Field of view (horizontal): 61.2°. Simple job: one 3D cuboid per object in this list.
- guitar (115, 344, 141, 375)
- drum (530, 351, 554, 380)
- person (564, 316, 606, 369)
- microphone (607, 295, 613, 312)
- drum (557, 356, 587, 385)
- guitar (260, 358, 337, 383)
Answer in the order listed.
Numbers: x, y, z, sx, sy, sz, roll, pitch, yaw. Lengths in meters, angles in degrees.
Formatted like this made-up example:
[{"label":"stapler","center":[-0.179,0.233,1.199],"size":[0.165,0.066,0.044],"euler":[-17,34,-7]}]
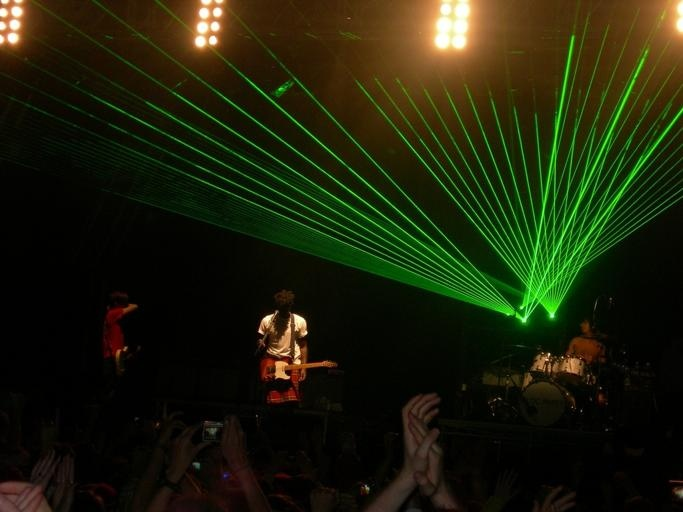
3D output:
[{"label":"guitar","center":[-3.570,1.681,9.527],"size":[0.531,0.446,1.273],"euler":[4,-13,-21]},{"label":"drum","center":[3.118,1.678,8.985],"size":[0.329,0.374,0.647],"euler":[1,-8,20]},{"label":"person","center":[4.328,1.581,10.131],"size":[0.630,1.238,0.419],"euler":[-6,21,24]},{"label":"microphone","center":[5.470,0.967,11.758],"size":[0.178,0.303,0.073],"euler":[1,9,11]},{"label":"drum","center":[3.543,1.754,8.829],"size":[0.395,0.313,0.417],"euler":[10,-26,5]},{"label":"guitar","center":[-0.770,1.945,9.842],"size":[0.883,0.373,0.130],"euler":[-1,-10,-13]}]
